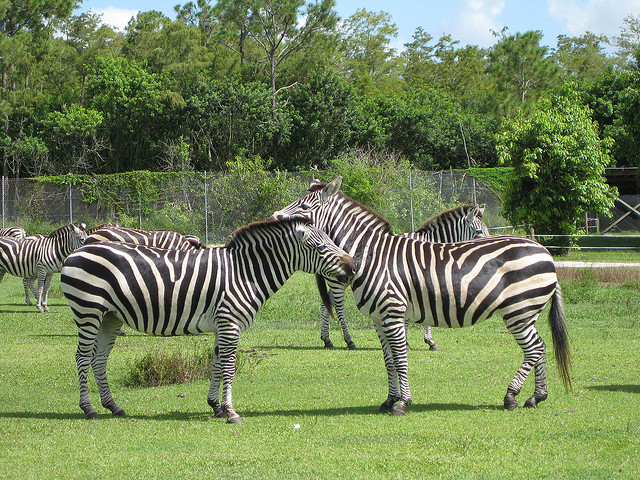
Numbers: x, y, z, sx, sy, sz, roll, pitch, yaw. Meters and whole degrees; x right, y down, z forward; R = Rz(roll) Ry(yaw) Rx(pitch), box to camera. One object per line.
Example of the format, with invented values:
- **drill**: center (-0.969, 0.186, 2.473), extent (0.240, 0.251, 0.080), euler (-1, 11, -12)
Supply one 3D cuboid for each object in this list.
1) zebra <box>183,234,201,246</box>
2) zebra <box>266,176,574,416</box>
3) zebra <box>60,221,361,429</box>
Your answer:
- **zebra**: center (-2.822, -0.035, 20.567), extent (0.441, 0.166, 0.435), euler (11, 3, -34)
- **zebra**: center (2.191, 1.142, 18.720), extent (6.025, 4.998, 1.747), euler (1, 0, -4)
- **zebra**: center (-2.161, 1.587, 18.340), extent (5.552, 4.215, 1.590), euler (1, 8, -7)
